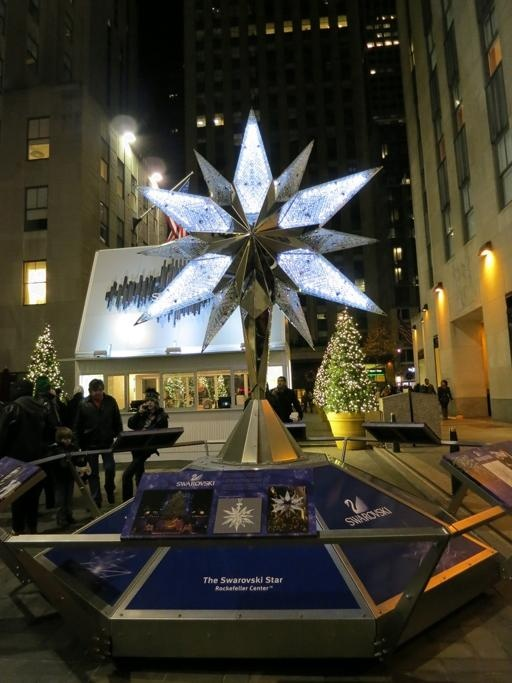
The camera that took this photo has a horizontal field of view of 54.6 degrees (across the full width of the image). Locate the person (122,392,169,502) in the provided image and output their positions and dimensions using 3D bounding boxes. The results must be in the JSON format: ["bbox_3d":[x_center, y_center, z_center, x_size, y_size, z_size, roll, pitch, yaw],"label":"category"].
[{"bbox_3d":[-1.631,1.533,7.300,0.646,1.625,2.554,-1,-6,-12],"label":"person"}]
